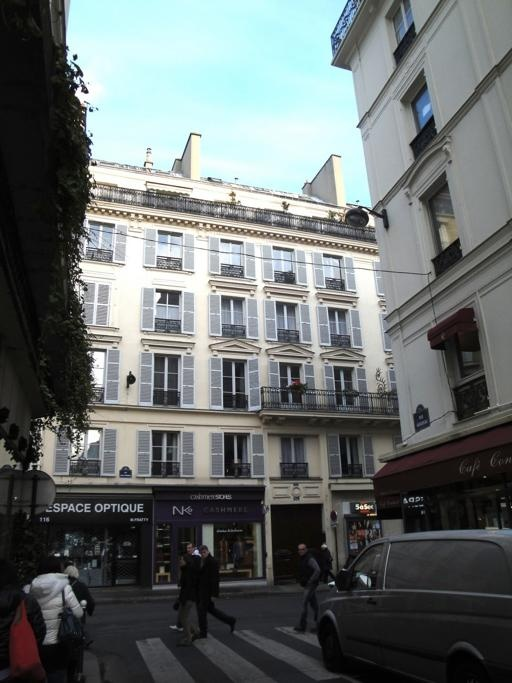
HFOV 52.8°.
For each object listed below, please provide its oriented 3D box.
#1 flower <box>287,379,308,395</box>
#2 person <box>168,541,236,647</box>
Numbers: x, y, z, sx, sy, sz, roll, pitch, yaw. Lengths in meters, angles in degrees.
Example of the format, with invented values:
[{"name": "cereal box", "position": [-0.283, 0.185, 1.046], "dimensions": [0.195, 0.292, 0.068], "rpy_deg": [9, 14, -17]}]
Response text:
[{"name": "flower", "position": [1.981, 2.239, 25.044], "dimensions": [0.703, 0.727, 0.583], "rpy_deg": [-1, 6, -25]}, {"name": "person", "position": [-0.899, 4.243, 8.733], "dimensions": [0.522, 1.458, 1.010], "rpy_deg": [-18, -23, 40]}]
